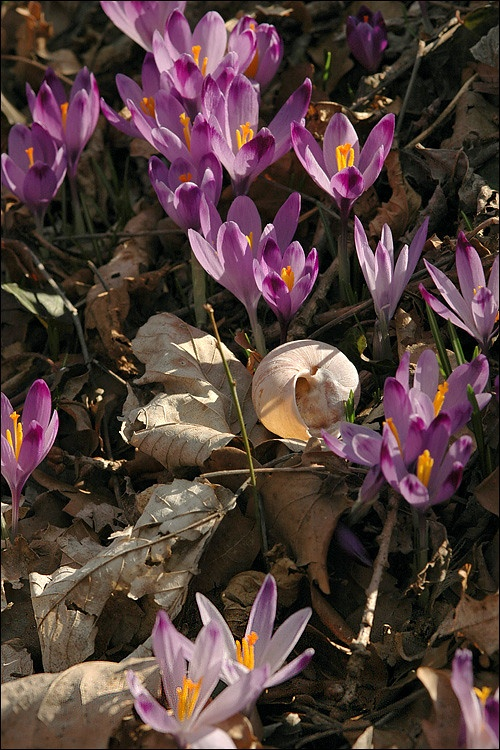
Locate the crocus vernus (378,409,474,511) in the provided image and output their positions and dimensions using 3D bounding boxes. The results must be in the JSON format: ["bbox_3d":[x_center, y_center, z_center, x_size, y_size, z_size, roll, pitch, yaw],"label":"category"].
[{"bbox_3d":[0.244,0.134,0.966,0.127,0.153,0.106,19,49,10],"label":"crocus vernus"}]
